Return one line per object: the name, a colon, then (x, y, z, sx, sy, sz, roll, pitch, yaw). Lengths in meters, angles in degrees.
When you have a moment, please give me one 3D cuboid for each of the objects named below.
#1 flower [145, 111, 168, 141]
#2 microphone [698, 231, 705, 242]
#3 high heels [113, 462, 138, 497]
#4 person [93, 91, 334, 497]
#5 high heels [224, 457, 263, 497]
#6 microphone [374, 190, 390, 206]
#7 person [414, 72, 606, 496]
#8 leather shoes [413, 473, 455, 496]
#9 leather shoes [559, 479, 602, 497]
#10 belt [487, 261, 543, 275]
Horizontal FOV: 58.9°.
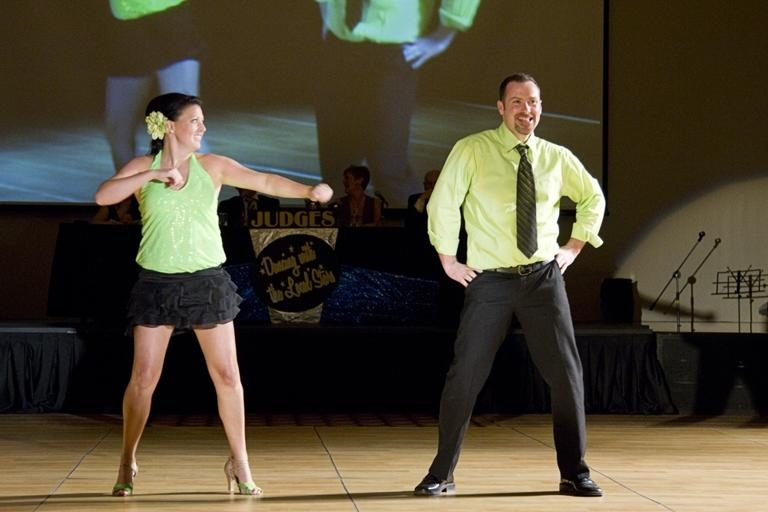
flower: (-1.220, -0.695, 3.607, 0.157, 0.148, 0.074, 8, 5, 35)
microphone: (3.619, -0.231, 7.714, 0.085, 0.056, 0.192, 27, 31, 11)
high heels: (-1.386, 1.229, 3.683, 0.074, 0.089, 0.232, 2, -15, -3)
person: (-1.045, 0.217, 3.631, 0.959, 2.144, 0.250, 5, 5, -4)
high heels: (-0.746, 1.176, 3.666, 0.260, 0.167, 0.094, 1, -3, 29)
microphone: (-0.020, -0.638, 7.399, 0.257, 0.074, 0.080, 38, 25, -18)
person: (0.715, 0.157, 3.714, 1.027, 2.296, 0.351, 6, 5, 0)
leather shoes: (0.275, 1.231, 3.701, 0.254, 0.095, 0.089, 8, -12, -26)
leather shoes: (1.061, 1.229, 3.657, 0.210, 0.077, 0.092, -2, -4, 21)
belt: (0.723, 0.056, 3.627, 0.273, 0.076, 0.030, 4, 5, -4)
